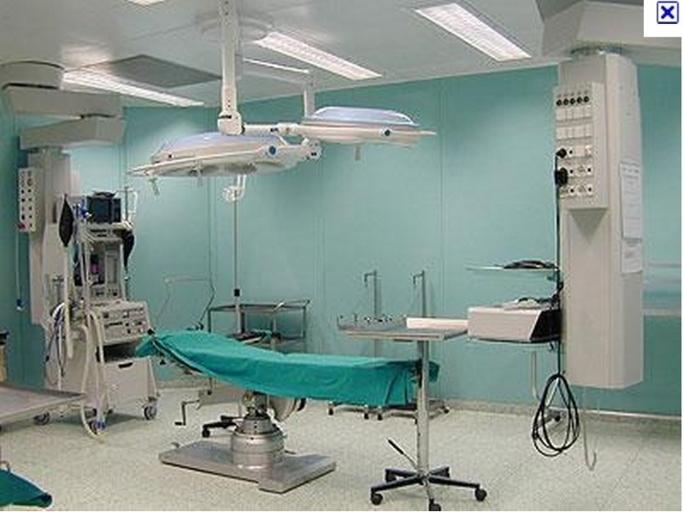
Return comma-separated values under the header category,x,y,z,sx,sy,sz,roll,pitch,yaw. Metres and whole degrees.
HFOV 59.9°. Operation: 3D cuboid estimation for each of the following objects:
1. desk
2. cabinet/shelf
category,x,y,z,sx,sy,sz,roll,pitch,yaw
desk,0.328,0.994,4.235,1.269,1.327,0.939,1,-1,17
cabinet/shelf,-0.987,1.037,6.660,1.120,1.071,0.606,1,2,31
